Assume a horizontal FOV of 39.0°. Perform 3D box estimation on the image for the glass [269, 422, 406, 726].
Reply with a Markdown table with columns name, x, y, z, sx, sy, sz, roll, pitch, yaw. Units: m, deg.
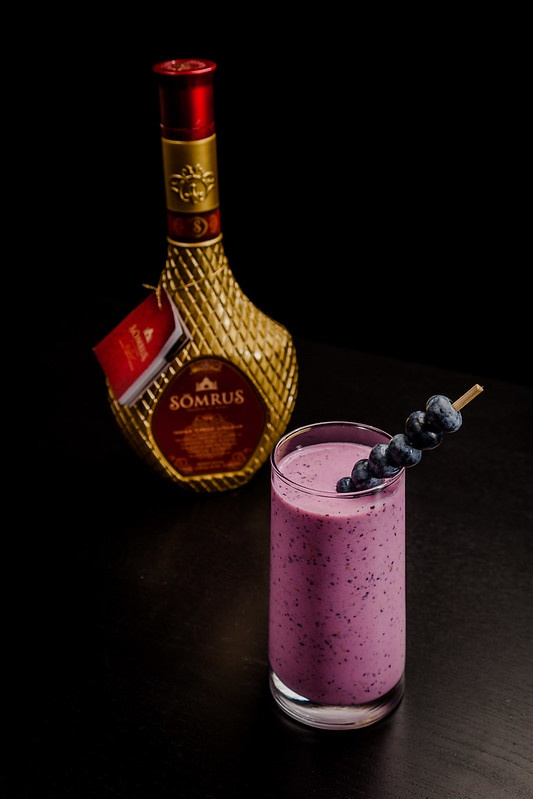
| name | x | y | z | sx | sy | sz | roll | pitch | yaw |
| --- | --- | --- | --- | --- | --- | --- | --- | --- | --- |
| glass | 0.046 | 0.132 | 0.550 | 0.107 | 0.211 | 0.110 | -20 | 33 | -31 |

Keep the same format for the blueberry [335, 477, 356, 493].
| name | x | y | z | sx | sy | sz | roll | pitch | yaw |
| --- | --- | --- | --- | --- | --- | --- | --- | --- | --- |
| blueberry | 0.053 | 0.057 | 0.502 | 0.010 | 0.012 | 0.010 | 4 | 4 | -3 |

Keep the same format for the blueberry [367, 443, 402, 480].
| name | x | y | z | sx | sy | sz | roll | pitch | yaw |
| --- | --- | --- | --- | --- | --- | --- | --- | --- | --- |
| blueberry | 0.071 | 0.039 | 0.471 | 0.012 | 0.020 | 0.020 | 0 | 36 | -40 |

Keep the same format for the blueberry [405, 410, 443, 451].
| name | x | y | z | sx | sy | sz | roll | pitch | yaw |
| --- | --- | --- | --- | --- | --- | --- | --- | --- | --- |
| blueberry | 0.102 | 0.020 | 0.480 | 0.023 | 0.023 | 0.023 | 1 | -10 | 17 |

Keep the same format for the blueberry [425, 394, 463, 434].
| name | x | y | z | sx | sy | sz | roll | pitch | yaw |
| --- | --- | --- | --- | --- | --- | --- | --- | --- | --- |
| blueberry | 0.111 | 0.012 | 0.470 | 0.022 | 0.011 | 0.022 | 29 | 45 | -17 |

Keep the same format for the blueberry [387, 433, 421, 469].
| name | x | y | z | sx | sy | sz | roll | pitch | yaw |
| --- | --- | --- | --- | --- | --- | --- | --- | --- | --- |
| blueberry | 0.083 | 0.031 | 0.464 | 0.020 | 0.019 | 0.020 | 16 | 4 | 30 |

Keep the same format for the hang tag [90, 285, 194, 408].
| name | x | y | z | sx | sy | sz | roll | pitch | yaw |
| --- | --- | --- | --- | --- | --- | --- | --- | --- | --- |
| hang tag | -0.129 | -0.048 | 0.738 | 0.086 | 0.117 | 0.036 | 53 | 16 | 25 |
